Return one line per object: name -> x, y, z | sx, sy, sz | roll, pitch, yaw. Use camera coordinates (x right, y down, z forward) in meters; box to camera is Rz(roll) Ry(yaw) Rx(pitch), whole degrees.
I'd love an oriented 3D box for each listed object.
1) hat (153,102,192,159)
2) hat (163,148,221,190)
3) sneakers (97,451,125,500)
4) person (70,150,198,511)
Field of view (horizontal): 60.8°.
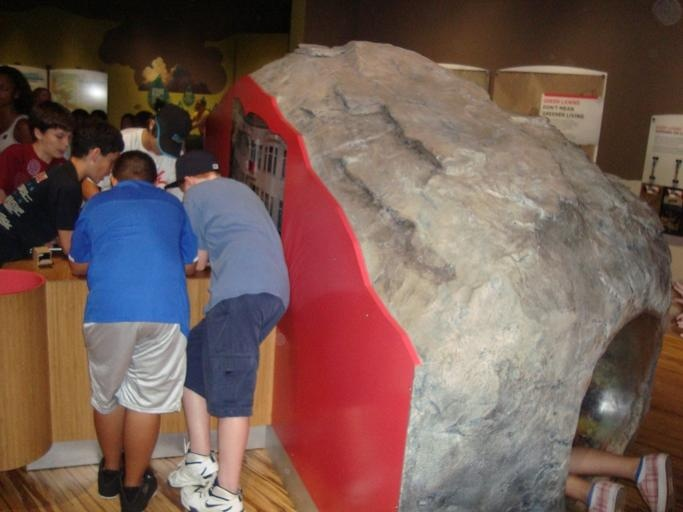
hat -> -1.119, -0.793, 3.763 | 0.174, 0.365, 0.210 | -22, -16, 41
hat -> -0.793, -0.461, 3.069 | 0.216, 0.130, 0.152 | 3, 14, 43
sneakers -> -1.205, 1.151, 3.039 | 0.107, 0.111, 0.238 | 2, 15, -7
person -> -1.025, 0.397, 2.868 | 0.598, 1.802, 0.404 | 0, 7, -17
